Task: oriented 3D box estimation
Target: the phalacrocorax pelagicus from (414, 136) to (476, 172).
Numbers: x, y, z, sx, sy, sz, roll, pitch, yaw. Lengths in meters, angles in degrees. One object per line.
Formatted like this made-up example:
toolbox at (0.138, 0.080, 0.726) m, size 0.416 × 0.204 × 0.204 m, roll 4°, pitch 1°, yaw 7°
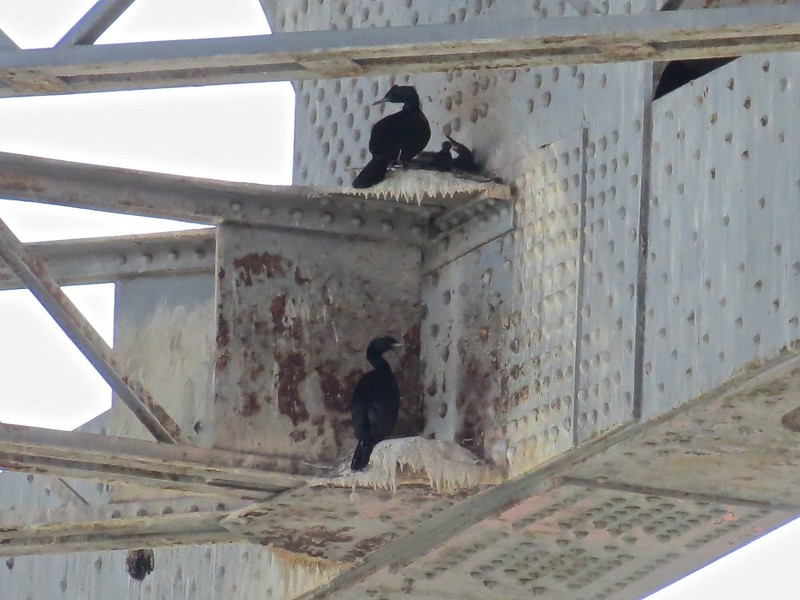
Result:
phalacrocorax pelagicus at (0.400, -1.098, 20.089) m, size 0.265 × 0.373 × 0.179 m, roll 4°, pitch -97°, yaw -18°
